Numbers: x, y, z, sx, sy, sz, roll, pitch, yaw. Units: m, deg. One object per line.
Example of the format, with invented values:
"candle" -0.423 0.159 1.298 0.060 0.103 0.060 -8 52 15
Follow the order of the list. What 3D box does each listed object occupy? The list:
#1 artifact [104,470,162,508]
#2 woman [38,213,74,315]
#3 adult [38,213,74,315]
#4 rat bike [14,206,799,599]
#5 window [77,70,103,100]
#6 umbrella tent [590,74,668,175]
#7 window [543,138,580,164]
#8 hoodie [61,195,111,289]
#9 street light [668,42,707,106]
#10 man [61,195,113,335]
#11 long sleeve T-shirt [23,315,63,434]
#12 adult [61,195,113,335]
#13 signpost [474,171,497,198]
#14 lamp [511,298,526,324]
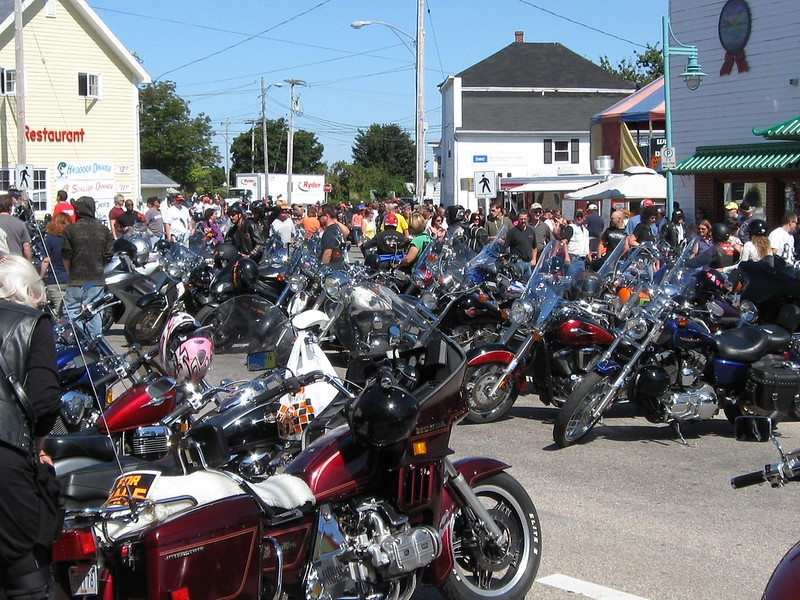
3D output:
"artifact" -1.387 0.980 4.395 0.241 0.112 0.236 -2 7 -1
"woman" -5.209 -0.373 13.073 0.509 1.777 0.421 -3 -3 -7
"adult" -5.399 -0.414 13.181 0.417 1.772 0.562 6 12 17
"rat bike" -0.188 0.941 6.126 3.422 2.477 2.195 7 -4 6
"window" -12.452 -8.672 33.993 0.941 1.297 0.805 3 5 25
"umbrella tent" 10.242 -7.593 37.242 2.786 3.823 3.354 -3 7 -7
"window" 9.830 -9.244 52.266 1.606 1.202 0.123 0 0 -13
"hoodie" -4.413 -0.827 12.019 0.611 1.321 0.377 -3 23 -29
"street light" 6.941 -5.774 20.498 0.830 1.465 0.673 -1 -3 2
"man" -4.462 -0.433 12.103 0.583 2.081 0.516 1 14 -22
"long sleeve T-shirt" -1.782 0.356 4.382 0.138 0.493 0.340 -4 -10 4
"adult" -4.450 -0.425 12.117 0.587 2.107 0.543 3 13 -16
"signpost" 2.050 -2.786 20.304 0.625 0.912 0.053 1 5 15
"lamp" 1.197 0.128 8.480 0.142 0.222 0.201 -6 9 32
